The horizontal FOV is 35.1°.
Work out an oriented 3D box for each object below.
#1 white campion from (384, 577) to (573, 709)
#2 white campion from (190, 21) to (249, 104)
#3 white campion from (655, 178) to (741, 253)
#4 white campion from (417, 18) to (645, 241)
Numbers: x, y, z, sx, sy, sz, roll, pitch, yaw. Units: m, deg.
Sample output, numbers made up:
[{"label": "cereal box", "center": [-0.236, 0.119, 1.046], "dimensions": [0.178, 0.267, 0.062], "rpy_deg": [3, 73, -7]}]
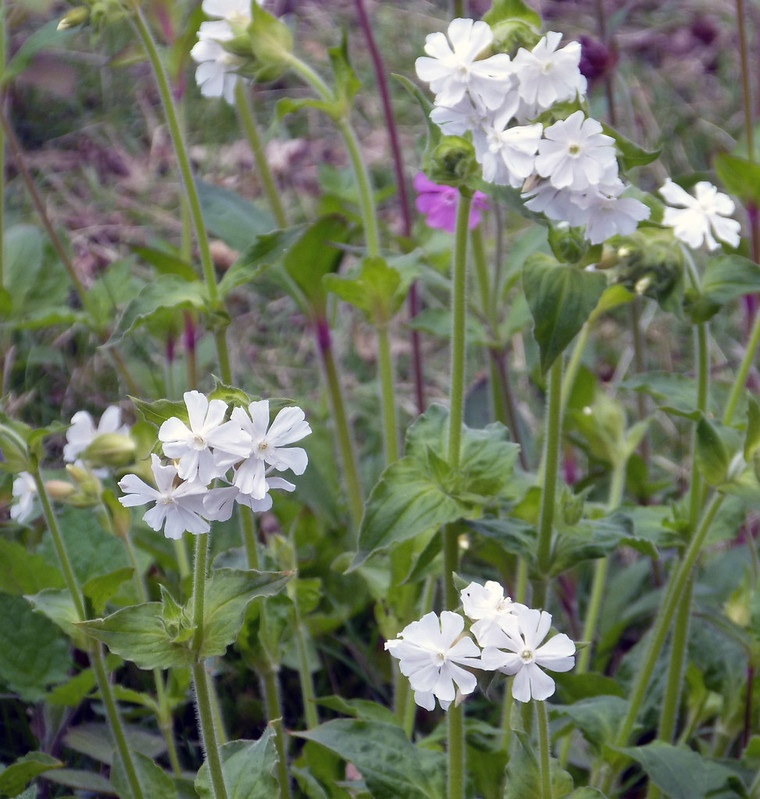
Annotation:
[{"label": "white campion", "center": [0.130, 0.311, 1.551], "dimensions": [0.180, 0.188, 0.089], "rpy_deg": [-38, 3, 9]}, {"label": "white campion", "center": [-0.244, -0.490, 1.772], "dimensions": [0.063, 0.133, 0.113], "rpy_deg": [-11, 36, -6]}, {"label": "white campion", "center": [0.459, -0.288, 1.746], "dimensions": [0.112, 0.047, 0.127], "rpy_deg": [23, 11, 16]}, {"label": "white campion", "center": [0.198, -0.348, 1.569], "dimensions": [0.298, 0.252, 0.137], "rpy_deg": [2, 36, 13]}]
